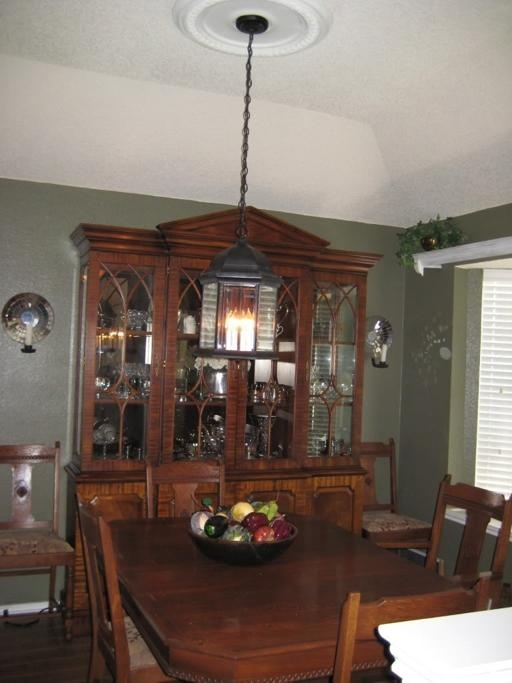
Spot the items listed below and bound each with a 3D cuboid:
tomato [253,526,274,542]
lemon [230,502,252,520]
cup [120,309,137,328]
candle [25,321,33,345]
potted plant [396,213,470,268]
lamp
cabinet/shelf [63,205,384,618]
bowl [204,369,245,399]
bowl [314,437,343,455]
[{"bbox_3d":[0.023,0.634,1.895,0.051,0.049,0.045,-10,1,-9],"label":"tomato"},{"bbox_3d":[-0.053,0.588,2.026,0.064,0.048,0.047,-10,18,-26],"label":"lemon"},{"bbox_3d":[-0.700,-0.126,3.173,0.087,0.071,0.093,1,-2,0],"label":"cup"},{"bbox_3d":[-1.313,-0.044,3.350,0.040,0.136,0.033,1,-1,-16],"label":"candle"},{"bbox_3d":[1.151,-0.672,3.831,0.172,0.294,0.445,-7,2,-37],"label":"potted plant"},{"bbox_3d":[-0.044,-0.550,1.937,0.239,1.216,0.609,1,-1,0],"label":"lamp"},{"bbox_3d":[-0.178,0.414,3.520,1.859,2.211,0.590,3,-3,-24],"label":"cabinet/shelf"},{"bbox_3d":[-0.174,0.247,3.307,0.175,0.173,0.159,1,-5,0],"label":"bowl"},{"bbox_3d":[0.454,0.657,3.619,0.119,0.097,0.144,-2,-11,17],"label":"bowl"}]
